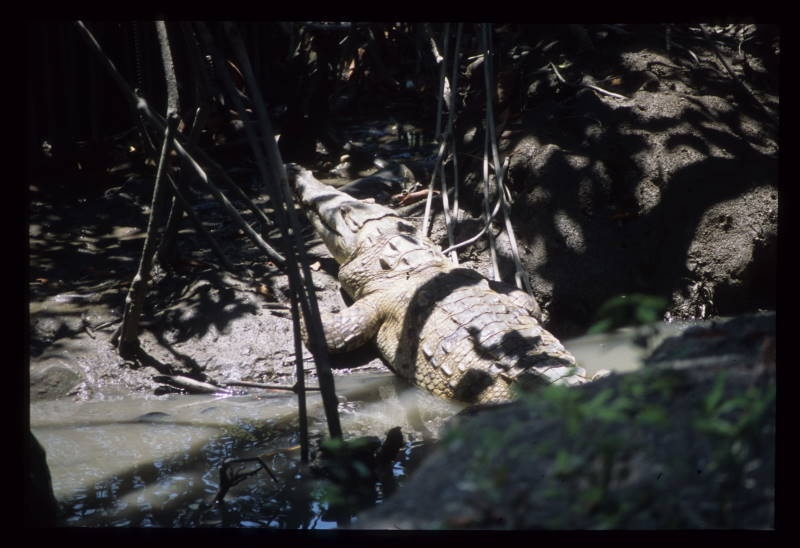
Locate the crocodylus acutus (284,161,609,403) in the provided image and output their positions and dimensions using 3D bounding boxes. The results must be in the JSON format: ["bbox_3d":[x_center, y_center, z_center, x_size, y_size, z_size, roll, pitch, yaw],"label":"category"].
[{"bbox_3d":[0.105,0.018,4.954,1.004,1.502,2.324,-11,6,-37],"label":"crocodylus acutus"}]
